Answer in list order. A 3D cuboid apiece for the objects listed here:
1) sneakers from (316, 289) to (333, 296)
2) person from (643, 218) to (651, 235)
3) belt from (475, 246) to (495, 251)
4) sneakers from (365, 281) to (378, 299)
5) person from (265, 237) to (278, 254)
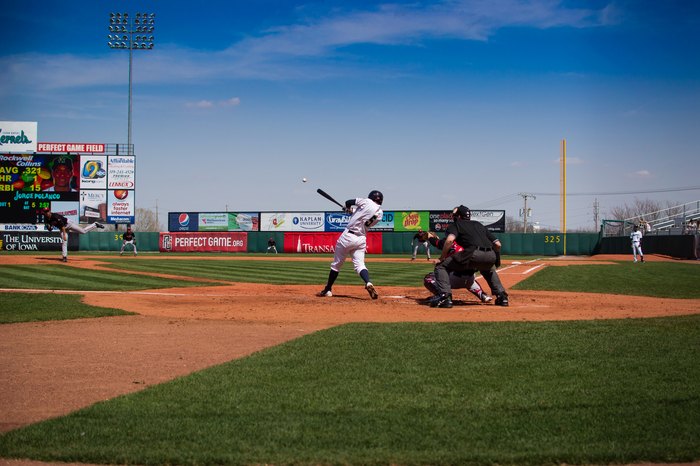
[{"bbox_3d":[-0.593,1.363,20.174,0.290,0.106,0.128,2,-1,19],"label":"sneakers"},{"bbox_3d":[14.863,-0.180,44.689,0.206,0.679,0.756,0,21,26],"label":"person"},{"bbox_3d":[2.789,0.332,18.510,0.359,0.073,0.044,0,2,-17],"label":"belt"},{"bbox_3d":[0.498,1.294,19.556,0.178,0.437,0.202,-21,22,-5],"label":"sneakers"},{"bbox_3d":[-4.307,0.713,49.790,0.925,1.127,0.705,1,-10,-9],"label":"person"}]
